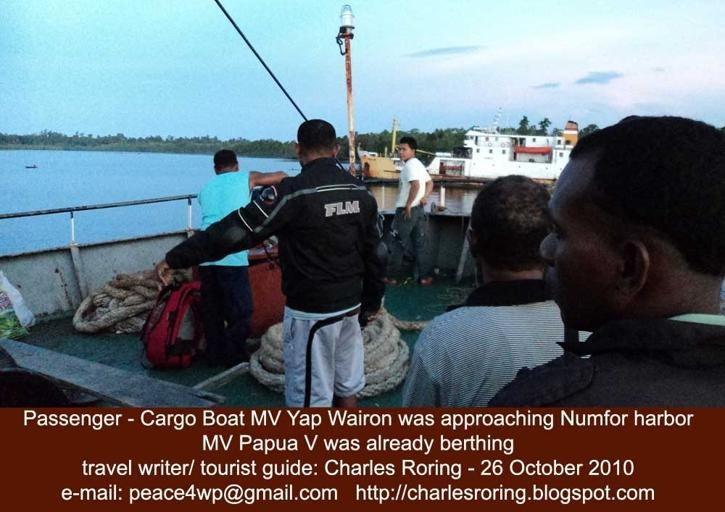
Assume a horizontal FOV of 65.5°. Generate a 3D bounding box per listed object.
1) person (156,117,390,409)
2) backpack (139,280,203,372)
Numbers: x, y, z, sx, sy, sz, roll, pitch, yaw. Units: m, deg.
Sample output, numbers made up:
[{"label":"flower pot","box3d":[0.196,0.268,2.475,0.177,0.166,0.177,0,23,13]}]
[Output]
[{"label":"person","box3d":[-0.389,0.092,3.273,0.796,1.662,0.806,8,20,26]},{"label":"backpack","box3d":[-1.547,0.589,4.622,0.589,0.798,0.451,-14,-26,41]}]
